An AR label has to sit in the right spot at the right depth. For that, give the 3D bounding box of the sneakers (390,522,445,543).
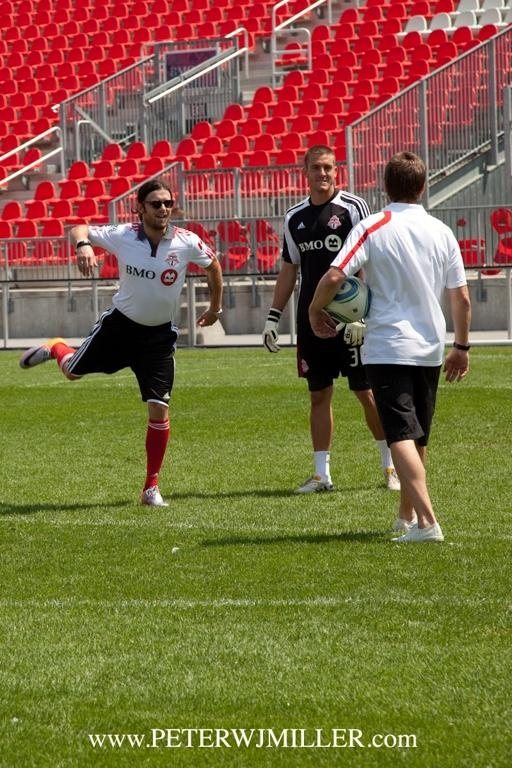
[{"bbox_3d":[0.600,0.549,4.956,0.204,0.084,0.077,-3,-4,34],"label":"sneakers"}]

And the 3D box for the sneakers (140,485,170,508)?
[{"bbox_3d":[-0.444,0.511,5.897,0.054,0.065,0.159,-3,-2,-27],"label":"sneakers"}]

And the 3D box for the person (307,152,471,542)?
[{"bbox_3d":[0.518,-0.132,5.035,0.600,1.408,0.479,-2,6,-4],"label":"person"}]

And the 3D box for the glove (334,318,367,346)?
[{"bbox_3d":[0.399,-0.206,5.677,0.100,0.042,0.100,13,-18,42],"label":"glove"}]

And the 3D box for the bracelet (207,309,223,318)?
[{"bbox_3d":[-0.177,-0.324,6.318,0.047,0.051,0.051,1,-4,-23],"label":"bracelet"}]

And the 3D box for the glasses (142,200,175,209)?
[{"bbox_3d":[-0.398,-0.758,5.794,0.077,0.038,0.141,3,8,39],"label":"glasses"}]

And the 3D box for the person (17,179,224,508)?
[{"bbox_3d":[-0.523,-0.187,6.212,0.711,1.438,0.900,-3,6,-17],"label":"person"}]

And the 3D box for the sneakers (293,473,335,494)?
[{"bbox_3d":[0.266,0.471,6.224,0.185,0.098,0.073,-1,2,-9],"label":"sneakers"}]

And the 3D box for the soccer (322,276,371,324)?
[{"bbox_3d":[0.347,-0.296,5.149,0.137,0.145,0.175,-3,35,-9],"label":"soccer"}]

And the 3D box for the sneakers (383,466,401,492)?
[{"bbox_3d":[0.623,0.448,6.186,0.051,0.069,0.158,-4,-2,-1],"label":"sneakers"}]
